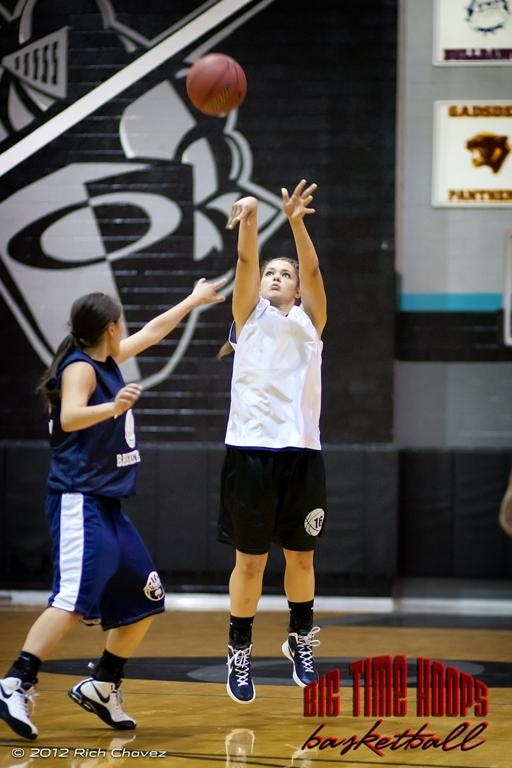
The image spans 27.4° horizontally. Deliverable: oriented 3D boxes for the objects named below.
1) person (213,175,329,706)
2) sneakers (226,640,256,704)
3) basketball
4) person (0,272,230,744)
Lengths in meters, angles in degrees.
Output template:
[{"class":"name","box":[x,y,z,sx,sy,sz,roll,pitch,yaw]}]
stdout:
[{"class":"person","box":[0.053,0.212,3.397,0.343,1.690,0.407,1,1,3]},{"class":"sneakers","box":[-0.053,0.905,3.292,0.077,0.078,0.215,1,10,-3]},{"class":"basketball","box":[-0.132,-1.038,3.624,0.182,0.217,0.191,1,1,14]},{"class":"person","box":[-0.471,0.384,3.204,0.312,1.328,0.714,1,1,39]}]
